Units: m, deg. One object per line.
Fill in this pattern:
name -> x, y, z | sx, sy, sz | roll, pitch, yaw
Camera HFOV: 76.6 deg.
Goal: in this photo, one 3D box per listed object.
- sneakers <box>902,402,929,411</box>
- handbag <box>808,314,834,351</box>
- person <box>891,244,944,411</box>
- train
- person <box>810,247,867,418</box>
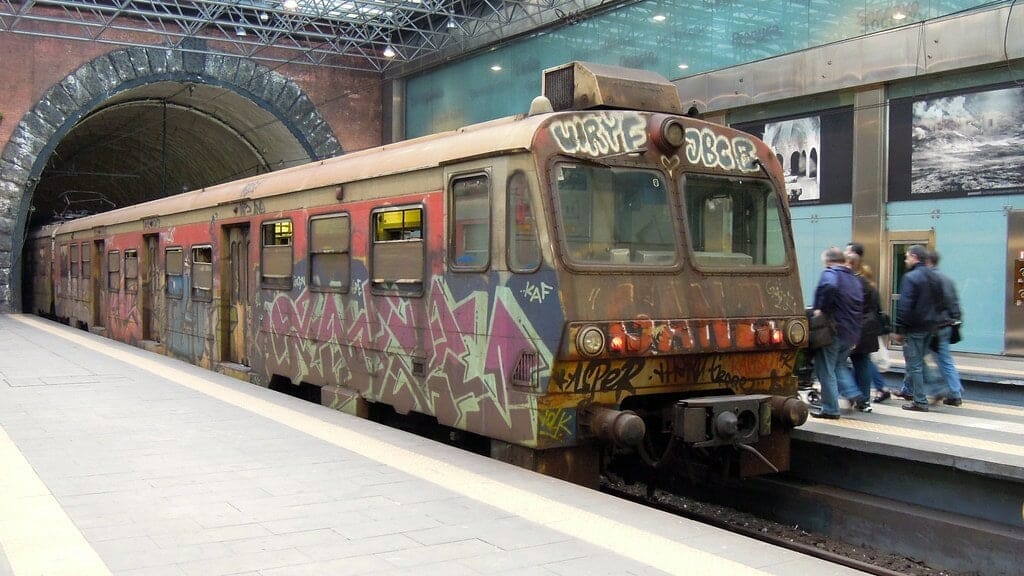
sneakers -> 6.670, 1.933, 10.728 | 0.430, 0.180, 0.160 | 4, 2, 22
handbag -> 4.663, 0.673, 9.788 | 0.318, 0.622, 0.555 | 3, 8, 28
person -> 6.678, 0.657, 10.621 | 0.643, 2.682, 0.432 | 4, 8, 31
train -> -4.752, -0.009, 15.973 | 4.619, 5.951, 20.966 | 1, -1, -34
person -> 4.993, 0.696, 10.078 | 0.888, 2.608, 0.532 | -5, 9, -34
